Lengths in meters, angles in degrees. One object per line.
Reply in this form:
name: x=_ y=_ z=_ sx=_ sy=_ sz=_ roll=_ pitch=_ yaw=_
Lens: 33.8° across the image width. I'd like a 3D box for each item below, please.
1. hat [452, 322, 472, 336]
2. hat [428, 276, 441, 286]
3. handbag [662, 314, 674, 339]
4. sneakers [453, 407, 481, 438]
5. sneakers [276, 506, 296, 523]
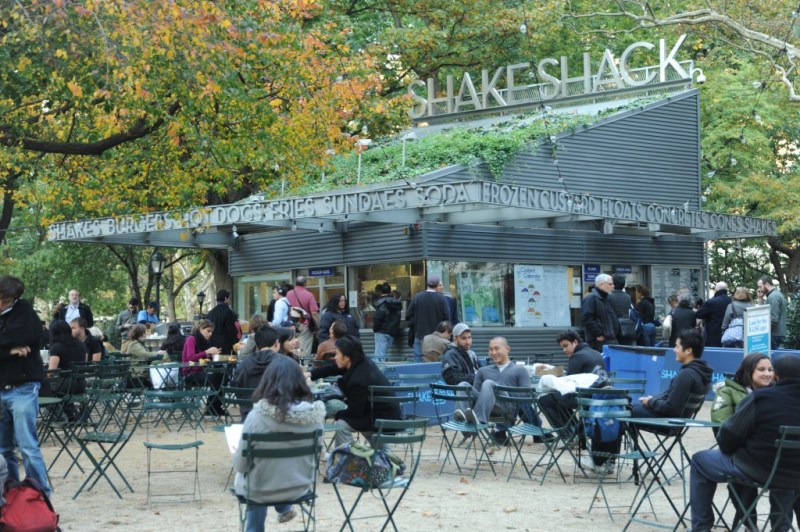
hat: x=1.098 y=1.145 z=24.445 sx=0.212 sy=0.145 sz=0.286 roll=3 pitch=-19 yaw=-29
hat: x=0.744 y=0.315 z=29.361 sx=0.198 sy=0.244 sz=0.253 roll=3 pitch=6 yaw=3
handbag: x=6.082 y=1.362 z=29.970 sx=0.267 sy=0.634 sz=0.621 roll=7 pitch=4 yaw=20
sneakers: x=1.175 y=2.754 z=23.176 sx=0.262 sy=0.271 sz=0.706 roll=1 pitch=-40 yaw=11
sneakers: x=-1.714 y=3.700 z=19.718 sx=0.148 sy=0.153 sz=0.368 roll=14 pitch=-31 yaw=-30
